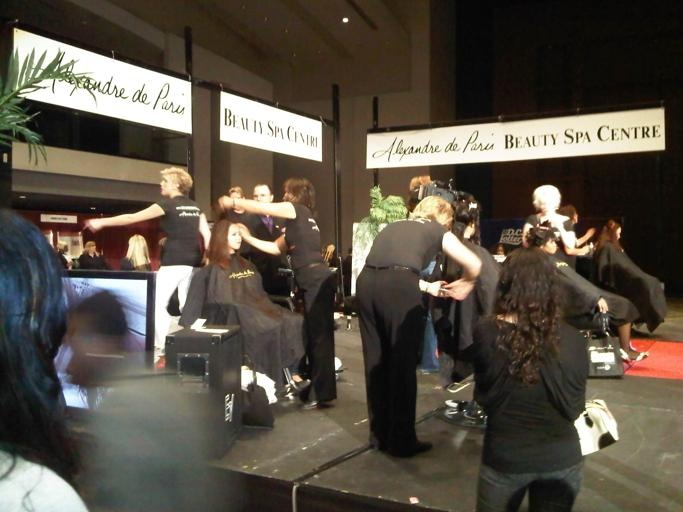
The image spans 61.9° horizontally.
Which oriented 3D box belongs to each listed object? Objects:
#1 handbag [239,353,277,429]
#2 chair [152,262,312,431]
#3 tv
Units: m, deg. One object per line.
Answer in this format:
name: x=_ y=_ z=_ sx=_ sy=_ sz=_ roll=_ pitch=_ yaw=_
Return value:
handbag: x=-0.576 y=0.951 z=3.805 sx=0.087 sy=0.346 sz=0.325 roll=-21 pitch=-22 yaw=38
chair: x=-0.799 y=0.539 z=4.386 sx=0.908 sy=1.274 sz=1.217 roll=-1 pitch=0 yaw=8
tv: x=-0.874 y=0.304 z=2.118 sx=0.328 sy=0.487 sz=0.186 roll=0 pitch=2 yaw=-1
